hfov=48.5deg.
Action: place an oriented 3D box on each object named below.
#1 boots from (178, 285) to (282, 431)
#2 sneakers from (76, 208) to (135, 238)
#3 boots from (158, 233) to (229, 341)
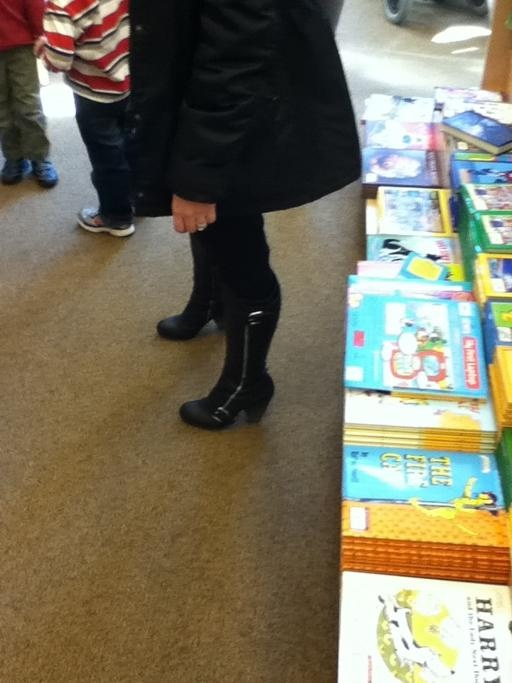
[{"bbox_3d":[-0.067,0.055,1.470,0.284,0.405,0.141,4,51,-7],"label":"boots"},{"bbox_3d":[-0.592,-0.455,2.226,0.252,0.111,0.093,12,76,-3],"label":"sneakers"},{"bbox_3d":[-0.182,-0.137,1.642,0.285,0.394,0.127,0,63,-3],"label":"boots"}]
